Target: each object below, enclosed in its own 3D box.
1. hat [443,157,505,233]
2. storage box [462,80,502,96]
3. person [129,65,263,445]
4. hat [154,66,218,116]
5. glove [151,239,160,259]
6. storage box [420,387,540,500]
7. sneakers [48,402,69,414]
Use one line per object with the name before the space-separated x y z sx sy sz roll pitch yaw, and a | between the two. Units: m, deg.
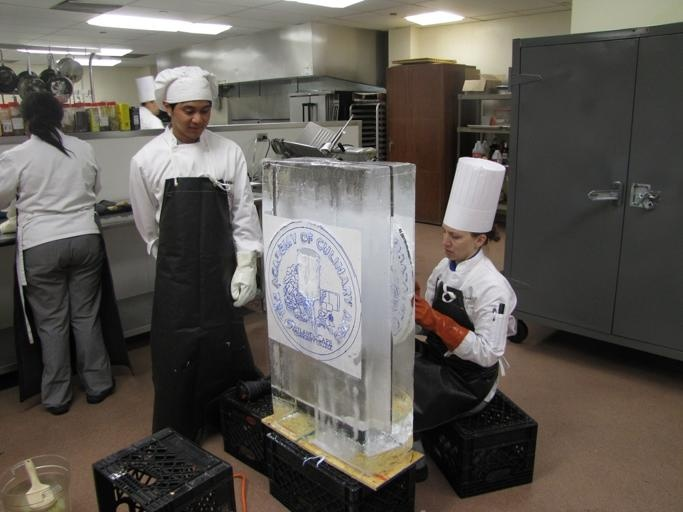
hat | 0.589 -0.258 2.256 0.278 0.338 0.299 19 15 20
storage box | 1.671 -1.979 5.956 0.285 0.128 0.309 13 20 36
person | -0.697 -0.014 2.387 0.562 1.626 0.562 -7 22 -29
hat | -0.741 -0.786 2.354 0.286 0.184 0.263 -4 17 -13
glove | -0.880 -0.036 2.352 0.042 0.081 0.056 16 -4 -12
storage box | 0.634 0.821 2.203 0.368 0.252 0.384 -10 19 -11
sneakers | -1.544 0.835 2.744 0.124 0.057 0.047 1 10 17
